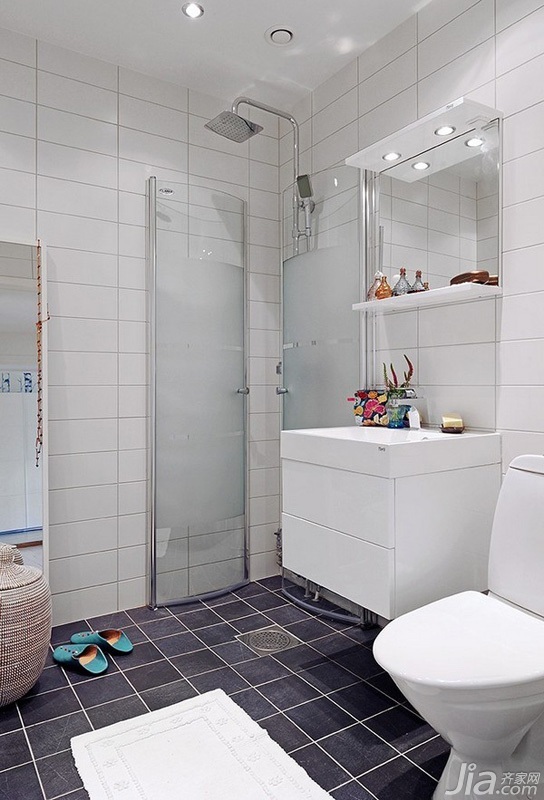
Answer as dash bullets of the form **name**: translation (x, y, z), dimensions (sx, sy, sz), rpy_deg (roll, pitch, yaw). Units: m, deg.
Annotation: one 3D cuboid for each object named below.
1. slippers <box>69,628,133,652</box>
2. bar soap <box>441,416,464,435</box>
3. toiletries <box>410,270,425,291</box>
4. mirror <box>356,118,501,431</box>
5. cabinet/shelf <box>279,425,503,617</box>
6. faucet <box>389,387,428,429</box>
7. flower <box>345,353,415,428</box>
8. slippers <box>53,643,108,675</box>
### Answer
- **slippers**: translation (-0.613, 0.867, 2.138), dimensions (0.196, 0.052, 0.094), rpy_deg (4, 0, 18)
- **bar soap**: translation (0.611, 0.085, 1.980), dimensions (0.054, 0.057, 0.056), rpy_deg (-5, -12, 31)
- **toiletries**: translation (0.532, -0.421, 2.119), dimensions (0.066, 0.084, 0.071), rpy_deg (1, -1, 16)
- **mirror**: translation (0.495, -0.422, 2.127), dimensions (0.250, 1.056, 0.704), rpy_deg (-1, 1, -26)
- **cabinet/shelf**: translation (0.399, 0.338, 2.059), dimensions (0.532, 0.680, 0.790), rpy_deg (-2, 1, -31)
- **faucet**: translation (0.512, 0.030, 2.232), dimensions (0.160, 0.171, 0.107), rpy_deg (4, -6, -30)
- **flower**: translation (0.425, -0.020, 2.334), dimensions (0.272, 0.291, 0.178), rpy_deg (3, -5, -41)
- **slippers**: translation (-0.646, 0.880, 2.018), dimensions (0.237, 0.058, 0.115), rpy_deg (0, 1, 29)
